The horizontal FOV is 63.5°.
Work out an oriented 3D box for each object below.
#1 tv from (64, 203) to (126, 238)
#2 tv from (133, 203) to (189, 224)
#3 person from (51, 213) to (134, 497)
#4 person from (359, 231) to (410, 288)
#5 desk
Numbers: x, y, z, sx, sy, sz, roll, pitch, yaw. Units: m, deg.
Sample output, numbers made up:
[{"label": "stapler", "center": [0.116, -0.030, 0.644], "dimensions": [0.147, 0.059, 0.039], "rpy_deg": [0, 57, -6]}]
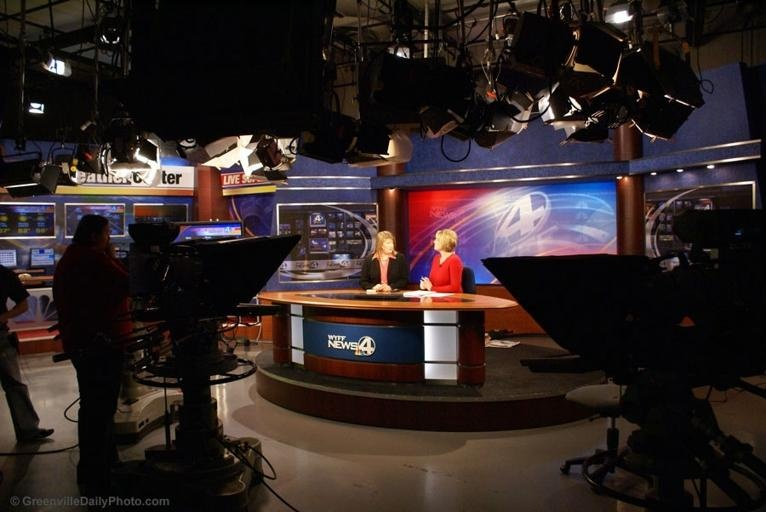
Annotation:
[{"label": "tv", "center": [-3.664, -0.471, 7.794], "dimensions": [0.721, 0.451, 0.027], "rpy_deg": [0, -3, -28]}, {"label": "tv", "center": [-3.199, -0.621, 8.842], "dimensions": [0.607, 0.286, 0.301], "rpy_deg": [-1, -39, -17]}, {"label": "person", "center": [-2.272, 0.786, 4.969], "dimensions": [0.564, 2.120, 1.089], "rpy_deg": [-7, 15, -25]}, {"label": "person", "center": [0.026, 0.033, 7.272], "dimensions": [0.684, 1.023, 0.631], "rpy_deg": [0, -1, 0]}, {"label": "desk", "center": [0.034, 0.818, 6.313], "dimensions": [2.415, 0.890, 0.596], "rpy_deg": [4, 14, 21]}]
